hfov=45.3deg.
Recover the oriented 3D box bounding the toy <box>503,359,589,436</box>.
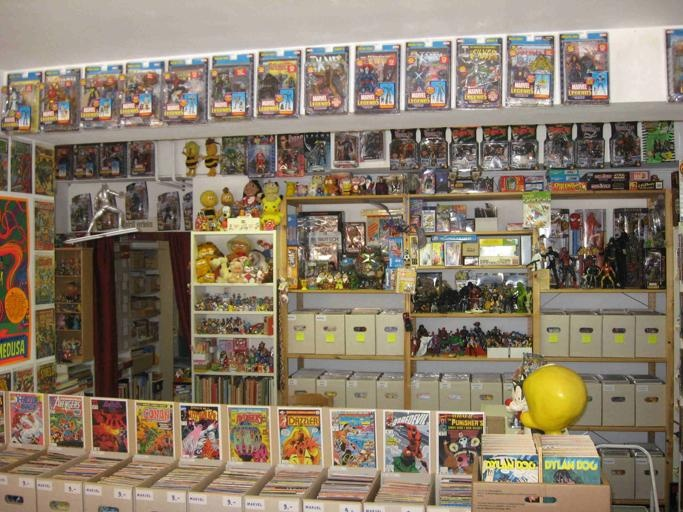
[{"bbox_3d":[1.098,0.771,4.600,0.367,0.470,0.454,18,-16,-36],"label":"toy"}]
